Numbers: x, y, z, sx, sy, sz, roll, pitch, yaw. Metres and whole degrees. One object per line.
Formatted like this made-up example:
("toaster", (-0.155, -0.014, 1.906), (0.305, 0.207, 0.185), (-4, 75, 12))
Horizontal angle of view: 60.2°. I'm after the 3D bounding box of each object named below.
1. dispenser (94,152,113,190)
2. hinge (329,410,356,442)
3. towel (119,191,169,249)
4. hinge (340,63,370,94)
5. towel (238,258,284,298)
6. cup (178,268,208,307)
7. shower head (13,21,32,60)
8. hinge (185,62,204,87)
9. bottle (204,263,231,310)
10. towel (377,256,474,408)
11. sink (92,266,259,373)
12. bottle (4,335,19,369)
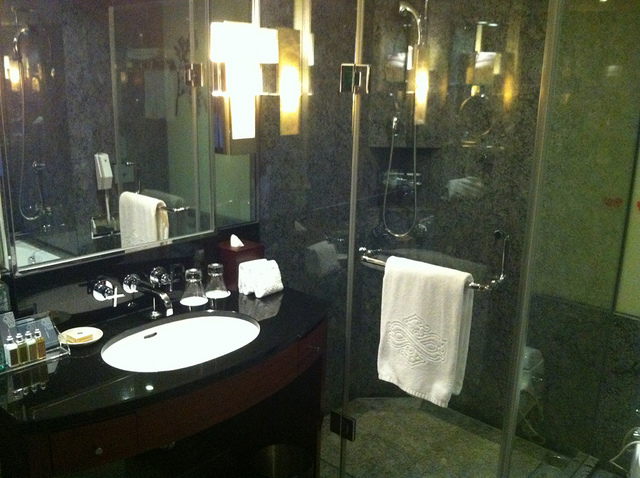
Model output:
("dispenser", (-0.885, -0.275, 2.258), (0.038, 0.141, 0.052), (3, 16, 33))
("hinge", (0.088, 0.873, 2.593), (0.207, 0.160, 0.024), (15, -18, -41))
("towel", (-0.764, -0.087, 2.356), (0.194, 0.238, 0.083), (6, 23, 2))
("hinge", (0.148, -0.667, 2.314), (0.124, 0.115, 0.043), (3, 5, 11))
("towel", (-0.269, 0.182, 2.576), (0.151, 0.173, 0.166), (-13, -10, -46))
("cup", (-0.561, 0.213, 2.442), (0.125, 0.154, 0.131), (-1, 0, 0))
("shower head", (-1.074, -0.718, 1.996), (0.022, 0.112, 0.079), (1, 3, 37))
("hinge", (-0.549, -0.713, 2.399), (0.082, 0.096, 0.026), (-4, 13, -18))
("bottle", (-0.491, 0.219, 2.534), (0.141, 0.231, 0.152), (2, 1, 0))
("towel", (0.437, 0.359, 2.224), (0.427, 0.672, 0.183), (20, 29, 39))
("sink", (-0.625, 0.372, 2.297), (0.433, 0.208, 0.475), (22, 27, 39))
("bottle", (-1.097, 0.398, 1.955), (0.042, 0.098, 0.063), (-8, 14, -33))
